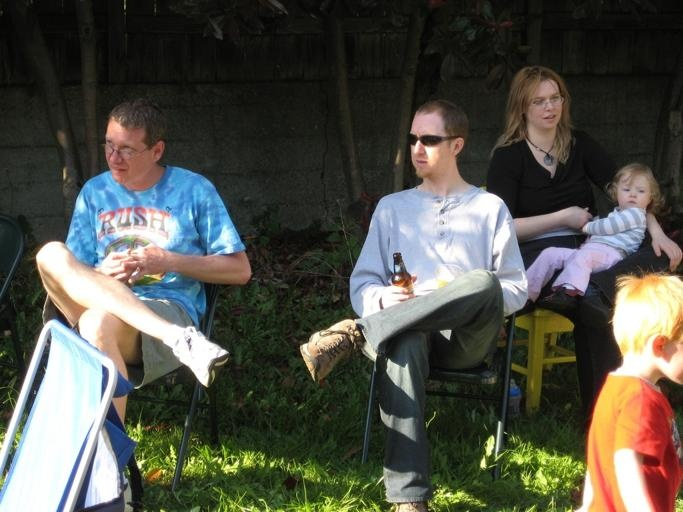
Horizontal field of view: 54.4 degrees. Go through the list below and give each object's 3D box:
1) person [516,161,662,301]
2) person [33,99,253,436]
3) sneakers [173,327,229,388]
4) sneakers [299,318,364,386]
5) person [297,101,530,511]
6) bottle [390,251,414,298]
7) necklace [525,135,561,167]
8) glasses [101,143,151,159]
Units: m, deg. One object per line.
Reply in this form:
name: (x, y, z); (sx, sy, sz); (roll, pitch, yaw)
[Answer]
person: (1.605, -0.166, 4.217); (0.770, 1.001, 0.497); (14, -4, -6)
person: (-1.025, 0.143, 3.521); (1.079, 1.974, 1.483); (-1, 6, -25)
sneakers: (-0.672, 0.464, 3.208); (0.352, 0.188, 0.154); (39, 4, 42)
sneakers: (-0.064, 0.482, 3.514); (0.352, 0.242, 0.151); (-44, -2, 3)
person: (0.416, 0.176, 3.568); (0.901, 2.120, 1.016); (0, 4, 35)
bottle: (0.330, 0.091, 3.538); (0.157, 0.222, 0.151); (-2, 3, 0)
necklace: (1.320, -0.679, 4.441); (0.189, 0.211, 0.145); (-3, -19, -17)
glasses: (-1.190, -0.581, 3.660); (0.234, 0.102, 0.063); (-2, 3, -7)
